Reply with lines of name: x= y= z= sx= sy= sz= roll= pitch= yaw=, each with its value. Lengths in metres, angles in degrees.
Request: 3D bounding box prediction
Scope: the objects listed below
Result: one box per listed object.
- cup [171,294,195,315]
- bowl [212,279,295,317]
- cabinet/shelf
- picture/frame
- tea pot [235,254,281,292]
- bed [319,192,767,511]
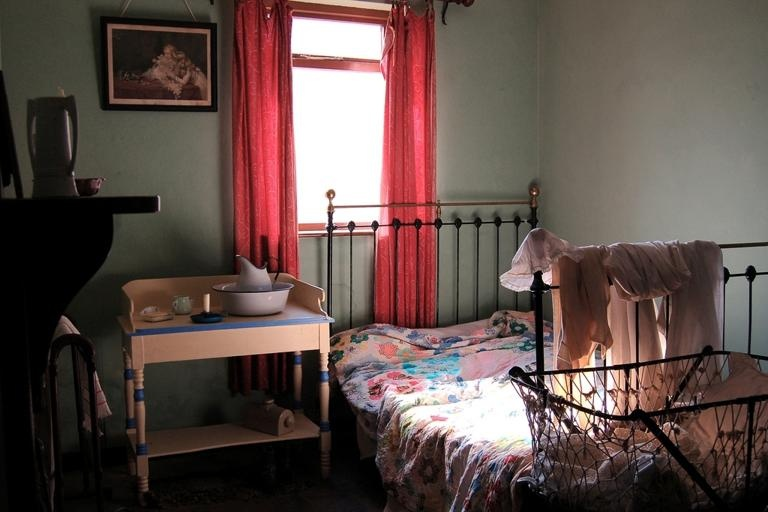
cup: x=-1.006 y=0.258 z=3.364 sx=0.100 sy=0.087 sz=0.075 roll=-4 pitch=-4 yaw=40
bowl: x=-0.656 y=0.227 z=3.424 sx=0.360 sy=0.140 sz=0.389 roll=1 pitch=2 yaw=0
cabinet/shelf: x=-0.801 y=0.665 z=3.416 sx=0.948 sy=1.006 sz=0.521 roll=-1 pitch=2 yaw=-26
picture/frame: x=-1.222 y=-1.044 z=3.557 sx=0.491 sy=0.452 sz=0.049 roll=-2 pitch=8 yaw=-14
tea pot: x=-0.624 y=0.127 z=3.385 sx=0.239 sy=0.247 sz=0.166 roll=4 pitch=-20 yaw=-27
bed: x=0.261 y=0.458 z=4.456 sx=1.635 sy=1.516 sz=1.571 roll=0 pitch=-1 yaw=-37
